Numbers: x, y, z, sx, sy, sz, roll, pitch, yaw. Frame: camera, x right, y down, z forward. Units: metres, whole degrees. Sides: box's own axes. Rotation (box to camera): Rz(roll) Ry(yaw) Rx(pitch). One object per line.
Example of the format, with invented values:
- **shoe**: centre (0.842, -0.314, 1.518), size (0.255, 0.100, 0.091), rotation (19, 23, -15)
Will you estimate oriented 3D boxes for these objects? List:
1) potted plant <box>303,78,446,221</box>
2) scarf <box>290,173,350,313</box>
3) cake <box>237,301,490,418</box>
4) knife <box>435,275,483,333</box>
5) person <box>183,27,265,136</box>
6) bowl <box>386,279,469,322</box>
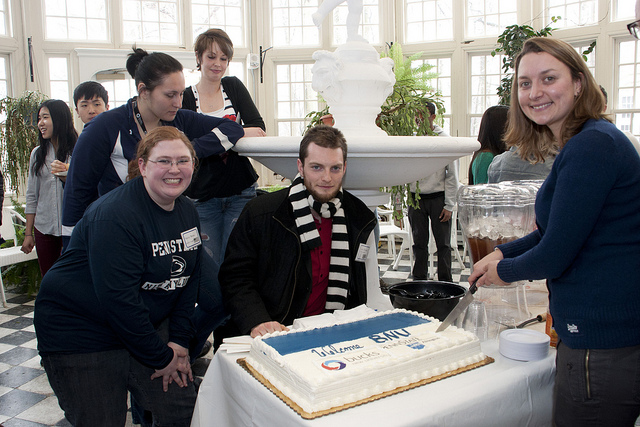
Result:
- **potted plant**: centre (0.423, -0.491, 3.532), size (0.982, 1.242, 1.164), rotation (1, 6, 27)
- **scarf**: centre (0.008, 0.169, 2.597), size (0.315, 0.775, 0.205), rotation (-3, 8, 1)
- **cake**: centre (0.188, 0.579, 1.919), size (0.645, 0.123, 0.484), rotation (-3, 4, -27)
- **knife**: centre (0.740, 0.485, 2.414), size (0.067, 0.449, 0.035), rotation (39, -4, -15)
- **person**: centre (-0.779, -0.914, 3.316), size (0.588, 0.837, 0.449), rotation (-9, 13, -31)
- **bowl**: centre (0.657, 0.544, 2.917), size (0.479, 0.167, 0.485), rotation (-5, -17, -1)
